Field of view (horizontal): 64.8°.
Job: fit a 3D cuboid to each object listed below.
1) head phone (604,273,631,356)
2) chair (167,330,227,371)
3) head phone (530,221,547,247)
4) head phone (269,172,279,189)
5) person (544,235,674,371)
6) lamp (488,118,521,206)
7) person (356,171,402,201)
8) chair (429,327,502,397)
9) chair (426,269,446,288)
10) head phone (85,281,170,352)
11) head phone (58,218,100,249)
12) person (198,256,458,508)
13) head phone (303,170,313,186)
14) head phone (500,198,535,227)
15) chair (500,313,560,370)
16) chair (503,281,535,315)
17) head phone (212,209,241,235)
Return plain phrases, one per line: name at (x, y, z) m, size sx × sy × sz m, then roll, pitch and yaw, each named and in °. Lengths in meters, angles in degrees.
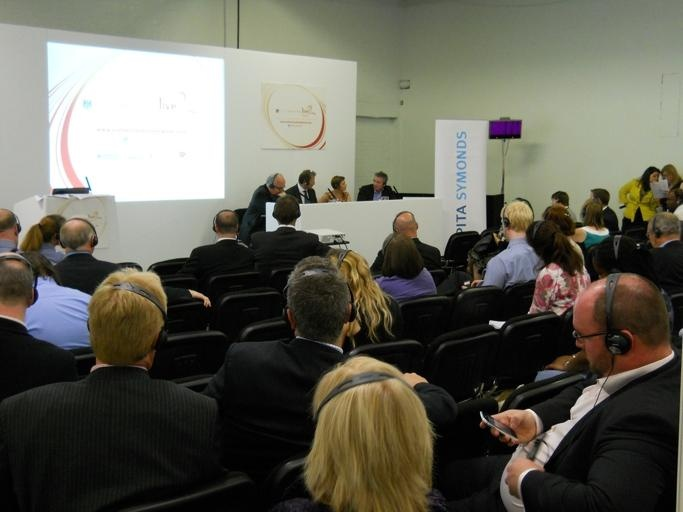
head phone at (0.882, 0.200, 1.716) m, size 0.068 × 0.253 × 0.210 m, roll -5°, pitch -5°, yaw 23°
chair at (-0.764, 0.499, 2.841) m, size 0.217 × 0.298 × 0.222 m, roll -3°, pitch 8°, yaw -39°
head phone at (1.422, -0.159, 3.880) m, size 0.073 × 0.171 × 0.111 m, roll 0°, pitch 11°, yaw 29°
head phone at (-1.006, -1.076, 7.771) m, size 0.189 × 0.174 × 0.138 m, roll -43°, pitch 10°, yaw -4°
person at (1.485, 0.258, 3.020) m, size 0.314 × 0.822 × 0.553 m, roll 3°, pitch 0°, yaw 40°
lamp at (3.041, -1.790, 10.067) m, size 0.575 × 1.531 × 1.276 m, roll 4°, pitch 9°, yaw 18°
person at (0.677, -1.264, 9.751) m, size 0.643 × 0.489 × 0.879 m, roll 8°, pitch 11°, yaw 33°
chair at (0.685, 0.581, 2.971) m, size 0.285 × 0.433 × 0.292 m, roll -16°, pitch 28°, yaw -27°
chair at (0.843, 0.176, 4.675) m, size 0.125 × 0.201 × 0.143 m, roll -9°, pitch 21°, yaw -28°
head phone at (-0.722, 0.186, 1.854) m, size 0.182 × 0.284 × 0.261 m, roll 1°, pitch 11°, yaw -13°
head phone at (-1.796, -0.151, 3.679) m, size 0.168 × 0.188 × 0.247 m, roll -14°, pitch 0°, yaw -14°
person at (-0.237, 0.515, 2.284) m, size 0.707 × 1.254 × 0.700 m, roll 10°, pitch 32°, yaw -16°
head phone at (-0.497, -1.203, 8.344) m, size 0.227 × 0.225 × 0.100 m, roll -5°, pitch 11°, yaw -38°
head phone at (1.446, -0.351, 4.375) m, size 0.194 × 0.301 × 0.271 m, roll 0°, pitch 14°, yaw -6°
chair at (1.140, 0.519, 3.244) m, size 0.211 × 0.358 × 0.248 m, roll -5°, pitch 19°, yaw -15°
chair at (1.299, 0.309, 3.926) m, size 0.135 × 0.230 × 0.162 m, roll -10°, pitch 24°, yaw -24°
head phone at (-1.088, -0.318, 4.999) m, size 0.180 × 0.246 × 0.270 m, roll 0°, pitch 10°, yaw -11°
